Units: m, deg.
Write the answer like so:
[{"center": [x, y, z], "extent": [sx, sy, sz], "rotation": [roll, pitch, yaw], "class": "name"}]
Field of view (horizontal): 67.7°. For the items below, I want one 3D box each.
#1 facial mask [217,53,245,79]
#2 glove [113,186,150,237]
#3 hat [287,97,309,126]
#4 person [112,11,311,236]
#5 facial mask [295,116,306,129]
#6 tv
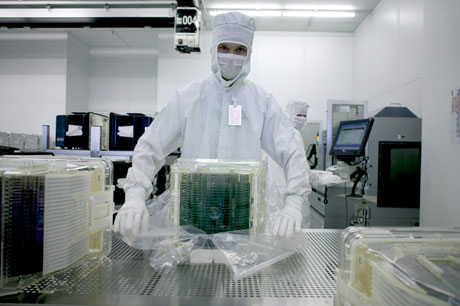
[{"center": [0.010, -0.566, 2.247], "extent": [0.199, 0.172, 0.204], "rotation": [4, 17, -6], "class": "facial mask"}, {"center": [-0.531, 0.306, 1.862], "extent": [0.171, 0.228, 0.269], "rotation": [2, 2, -14], "class": "glove"}, {"center": [0.768, -0.458, 3.877], "extent": [0.231, 0.284, 0.286], "rotation": [-1, -4, -7], "class": "hat"}, {"center": [-0.047, -0.238, 2.103], "extent": [1.066, 1.503, 0.990], "rotation": [0, -7, -4], "class": "person"}, {"center": [0.812, -0.344, 3.921], "extent": [0.125, 0.097, 0.129], "rotation": [2, 10, 12], "class": "facial mask"}, {"center": [1.135, -0.143, 3.290], "extent": [0.172, 0.286, 0.459], "rotation": [2, 2, -22], "class": "tv"}]
